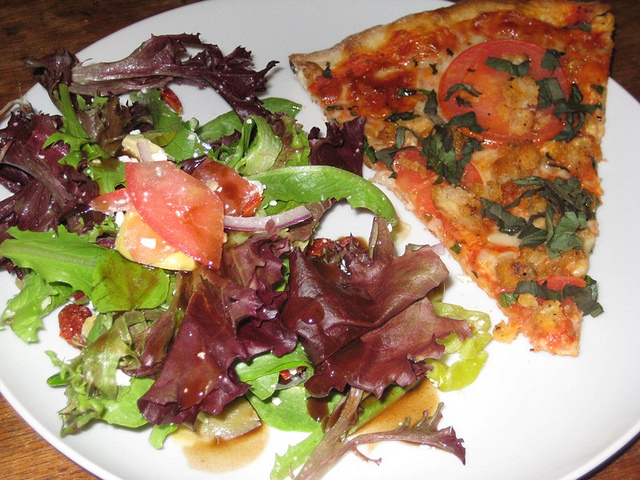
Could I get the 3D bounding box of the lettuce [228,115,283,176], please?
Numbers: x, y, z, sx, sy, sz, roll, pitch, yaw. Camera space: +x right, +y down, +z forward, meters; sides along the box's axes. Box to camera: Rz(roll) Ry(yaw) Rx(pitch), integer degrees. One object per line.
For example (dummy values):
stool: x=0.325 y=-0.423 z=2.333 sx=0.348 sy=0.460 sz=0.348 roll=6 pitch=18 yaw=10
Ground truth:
lettuce: x=-0.421 y=-0.615 z=4.174 sx=0.329 sy=0.421 sz=0.152 roll=14 pitch=0 yaw=17

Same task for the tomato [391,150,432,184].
tomato: x=0.678 y=-0.552 z=4.696 sx=0.330 sy=0.094 sz=0.377 roll=-14 pitch=-21 yaw=25

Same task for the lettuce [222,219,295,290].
lettuce: x=-0.378 y=0.044 z=3.720 sx=0.428 sy=0.408 sz=0.168 roll=-3 pitch=11 yaw=-18

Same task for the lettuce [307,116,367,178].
lettuce: x=0.145 y=-0.657 z=4.362 sx=0.420 sy=0.412 sz=0.164 roll=6 pitch=-43 yaw=-5

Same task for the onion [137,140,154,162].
onion: x=-1.099 y=-0.555 z=3.918 sx=0.082 sy=0.138 sz=0.033 roll=-10 pitch=-4 yaw=-17

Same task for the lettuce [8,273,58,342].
lettuce: x=-1.800 y=0.410 z=3.896 sx=0.374 sy=0.392 sz=0.119 roll=12 pitch=-8 yaw=-16

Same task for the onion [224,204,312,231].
onion: x=-0.334 y=-0.139 z=3.941 sx=0.288 sy=0.075 sz=0.062 roll=-18 pitch=-37 yaw=-12
